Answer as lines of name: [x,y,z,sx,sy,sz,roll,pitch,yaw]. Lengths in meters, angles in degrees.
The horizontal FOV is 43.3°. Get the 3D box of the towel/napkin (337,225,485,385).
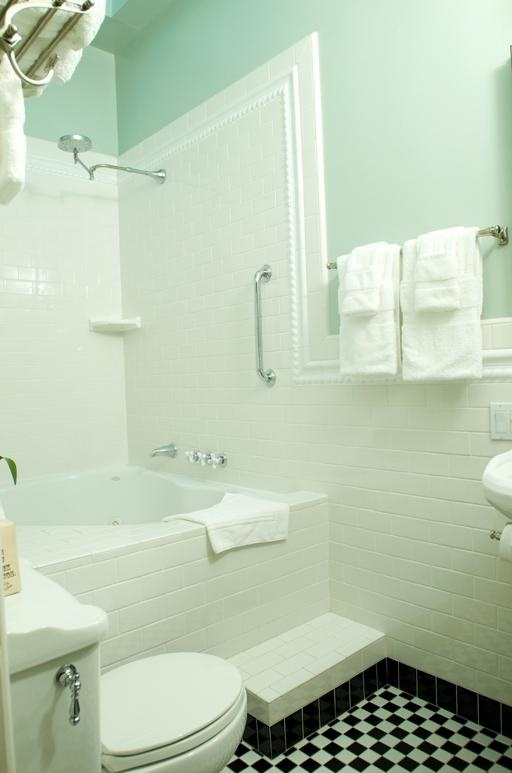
towel/napkin: [0.464,-0.228,1.878,0.123,0.460,0.490,1,-2,-37]

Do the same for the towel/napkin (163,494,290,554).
towel/napkin: [-0.110,0.448,2.151,0.303,0.121,0.419,7,7,43]
